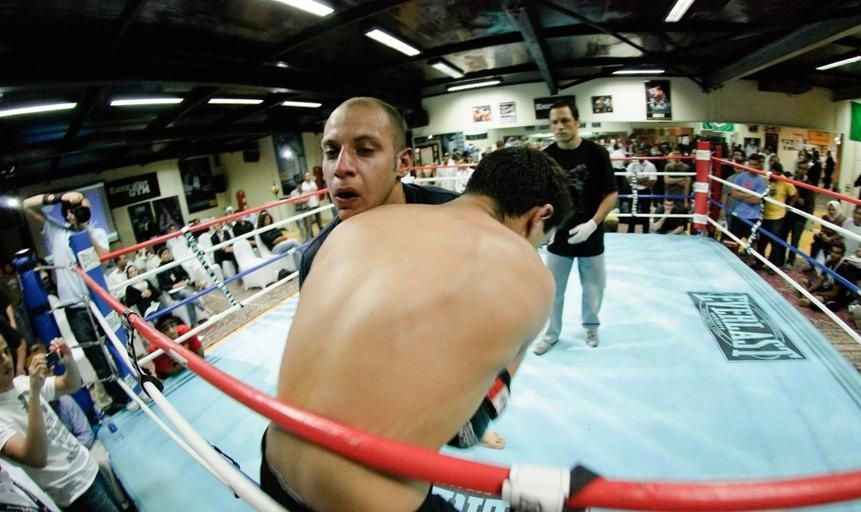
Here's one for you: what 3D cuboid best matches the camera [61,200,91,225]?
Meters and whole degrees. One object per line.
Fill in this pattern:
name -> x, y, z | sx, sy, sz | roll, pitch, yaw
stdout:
camera -> -3.529, -0.501, 4.575 | 0.283, 0.209, 0.174 | 17, 3, 27

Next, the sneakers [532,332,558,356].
sneakers -> 1.020, 0.996, 4.538 | 0.335, 0.129, 0.114 | -30, -12, -39

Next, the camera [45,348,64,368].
camera -> -3.016, 0.935, 3.618 | 0.088, 0.136, 0.073 | -12, 15, -27

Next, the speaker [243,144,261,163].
speaker -> -6.021, -3.844, 14.805 | 0.703, 0.699, 0.244 | 4, 16, 34
